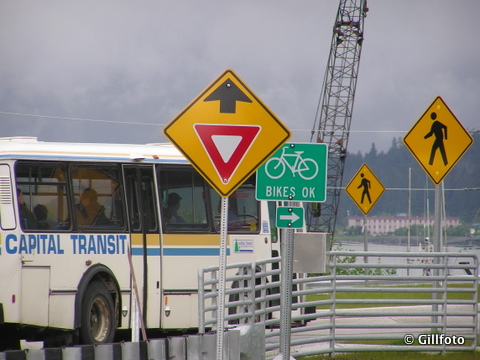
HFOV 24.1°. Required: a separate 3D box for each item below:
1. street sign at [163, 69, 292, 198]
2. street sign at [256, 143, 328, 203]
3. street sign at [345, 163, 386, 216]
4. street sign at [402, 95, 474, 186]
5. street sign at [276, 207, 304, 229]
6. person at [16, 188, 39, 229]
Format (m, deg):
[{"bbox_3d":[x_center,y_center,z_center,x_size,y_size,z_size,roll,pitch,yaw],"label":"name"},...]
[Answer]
[{"bbox_3d":[-0.194,-0.701,20.901,2.403,2.254,0.102,-1,-10,-5],"label":"street sign"},{"bbox_3d":[0.995,-0.175,21.787,1.156,1.011,0.047,3,-14,-6],"label":"street sign"},{"bbox_3d":[3.983,0.156,35.544,1.129,1.625,1.049,-4,-9,20],"label":"street sign"},{"bbox_3d":[4.408,-0.947,24.912,1.436,1.977,0.464,-3,-9,8],"label":"street sign"},{"bbox_3d":[0.978,0.690,21.730,0.452,0.422,0.117,1,4,1],"label":"street sign"},{"bbox_3d":[-4.644,0.565,25.131,0.289,0.810,0.573,-21,14,-15],"label":"person"}]
